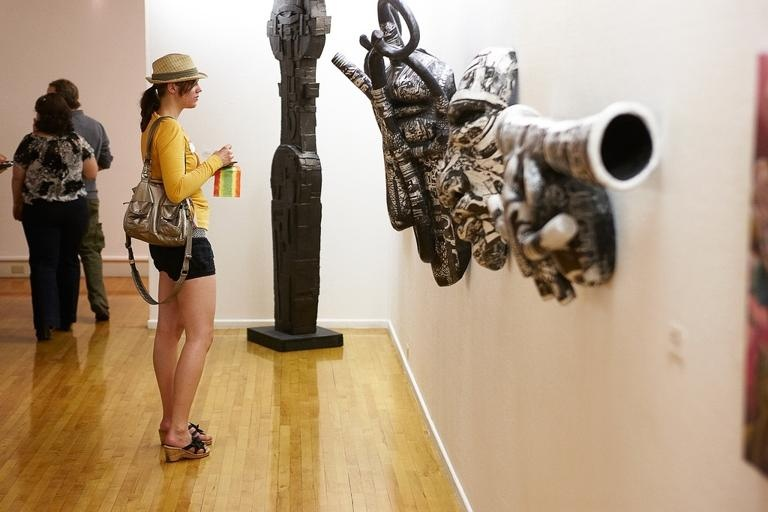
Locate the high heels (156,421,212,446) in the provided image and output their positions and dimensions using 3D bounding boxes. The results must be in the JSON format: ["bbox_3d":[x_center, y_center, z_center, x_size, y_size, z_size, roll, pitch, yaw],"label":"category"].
[{"bbox_3d":[-0.950,0.845,2.955,0.290,0.126,0.112,0,6,-6],"label":"high heels"}]

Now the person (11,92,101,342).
[{"bbox_3d":[-2.420,-0.305,4.572,0.558,1.763,0.415,-5,11,-33],"label":"person"}]

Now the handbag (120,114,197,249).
[{"bbox_3d":[-0.995,-0.330,2.718,0.306,0.566,0.135,3,10,15],"label":"handbag"}]

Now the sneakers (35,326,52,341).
[{"bbox_3d":[-2.479,0.563,4.516,0.074,0.123,0.121,1,-11,-7],"label":"sneakers"}]

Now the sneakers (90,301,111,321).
[{"bbox_3d":[-2.311,0.451,5.023,0.160,0.178,0.106,-2,3,-9],"label":"sneakers"}]

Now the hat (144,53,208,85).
[{"bbox_3d":[-0.944,-0.851,2.791,0.201,0.084,0.194,-3,21,12],"label":"hat"}]

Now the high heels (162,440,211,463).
[{"bbox_3d":[-0.906,0.896,2.828,0.158,0.072,0.096,-3,8,-17],"label":"high heels"}]
